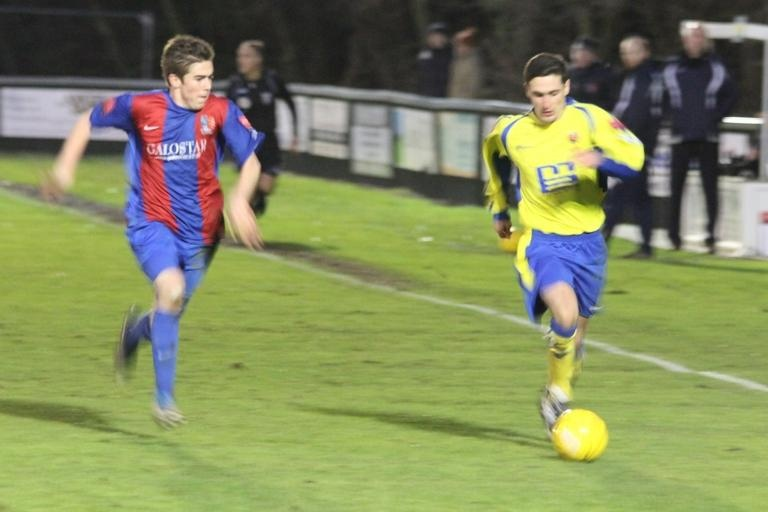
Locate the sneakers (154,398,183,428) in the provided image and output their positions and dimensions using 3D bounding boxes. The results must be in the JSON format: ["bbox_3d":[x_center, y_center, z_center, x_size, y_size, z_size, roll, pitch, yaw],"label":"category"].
[{"bbox_3d":[-1.452,1.071,8.988,0.219,0.080,0.148,7,-18,-11],"label":"sneakers"}]

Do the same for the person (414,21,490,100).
[{"bbox_3d":[1.045,-2.848,19.679,1.403,1.112,0.424,5,6,31],"label":"person"}]

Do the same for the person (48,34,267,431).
[{"bbox_3d":[-1.489,-0.178,9.050,1.316,2.577,0.742,0,16,-5],"label":"person"}]

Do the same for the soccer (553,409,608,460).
[{"bbox_3d":[1.249,1.142,8.582,0.370,0.296,0.343,7,-10,-23],"label":"soccer"}]

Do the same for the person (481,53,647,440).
[{"bbox_3d":[1.249,-0.156,9.104,0.731,2.422,1.110,-5,16,-20],"label":"person"}]
